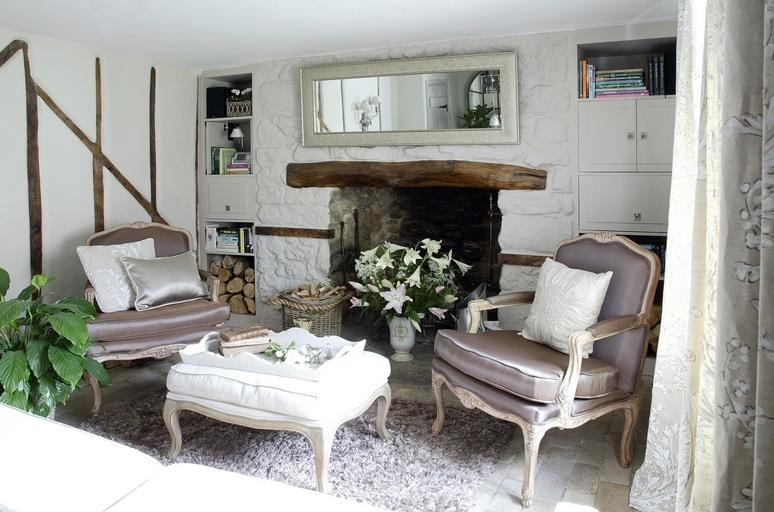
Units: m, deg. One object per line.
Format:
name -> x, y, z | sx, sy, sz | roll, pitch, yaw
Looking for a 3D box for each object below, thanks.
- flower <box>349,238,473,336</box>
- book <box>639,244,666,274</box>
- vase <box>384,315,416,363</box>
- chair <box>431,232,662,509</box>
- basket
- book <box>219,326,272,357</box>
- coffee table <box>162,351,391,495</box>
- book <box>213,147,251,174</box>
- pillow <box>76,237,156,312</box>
flower -> 0.136, 0.442, 4.542 | 0.808, 0.581, 0.859 | 1, 3, 28
book -> 1.647, 0.017, 3.133 | 0.131, 0.213, 0.240 | -1, -3, 30
vase -> 0.107, 0.731, 4.527 | 0.344, 0.389, 0.326 | -3, -11, 23
chair -> 0.832, 0.525, 3.561 | 1.549, 1.783, 1.394 | 1, 3, -34
basket -> -0.672, 0.509, 4.701 | 0.526, 0.461, 0.616 | 8, 13, 33
book -> -0.804, 0.477, 2.829 | 0.197, 0.064, 0.189 | -5, 7, -36
coffee table -> -0.442, 0.703, 2.824 | 1.006, 0.433, 0.731 | 2, 0, 26
book -> -1.630, -0.943, 5.187 | 0.374, 0.083, 0.334 | 0, 27, -5
pillow -> -2.067, 0.143, 3.801 | 0.180, 0.521, 0.605 | -33, -15, 36
